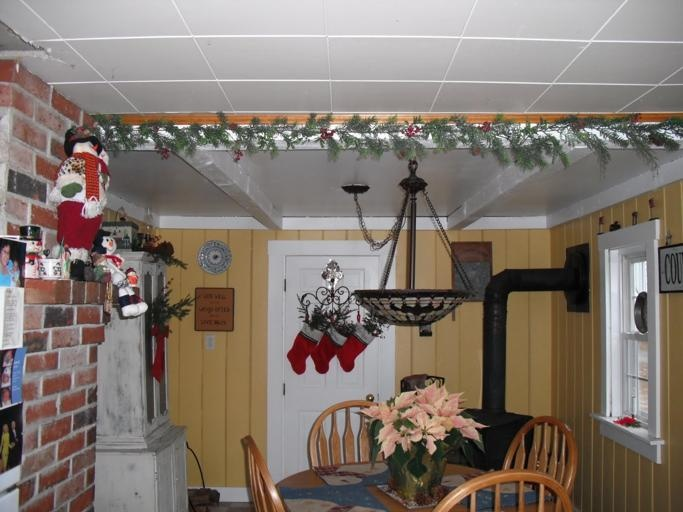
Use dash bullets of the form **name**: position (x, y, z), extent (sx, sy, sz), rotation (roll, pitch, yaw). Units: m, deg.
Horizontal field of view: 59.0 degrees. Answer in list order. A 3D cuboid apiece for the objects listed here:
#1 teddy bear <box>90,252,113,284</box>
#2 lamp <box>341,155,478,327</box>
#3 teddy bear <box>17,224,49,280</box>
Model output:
- **teddy bear**: position (-1.108, 0.068, 2.795), extent (0.072, 0.144, 0.103), rotation (-15, -9, 6)
- **lamp**: position (0.480, -0.093, 4.010), extent (0.811, 1.227, 0.799), rotation (1, -11, 7)
- **teddy bear**: position (-1.267, -0.004, 2.461), extent (0.095, 0.215, 0.137), rotation (5, 0, 12)
